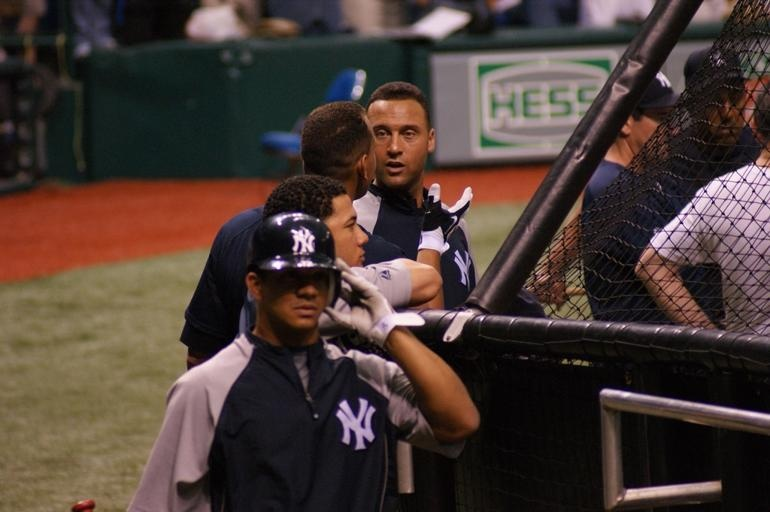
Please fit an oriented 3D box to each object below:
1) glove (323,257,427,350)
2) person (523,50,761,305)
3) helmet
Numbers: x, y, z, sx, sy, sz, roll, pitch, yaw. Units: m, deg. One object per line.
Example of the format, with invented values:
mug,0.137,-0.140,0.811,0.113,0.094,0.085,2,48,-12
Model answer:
glove,-0.073,0.319,9.768,0.482,0.654,0.300,-42,-27,23
person,1.724,-0.588,10.738,1.488,2.079,0.661,-1,47,-55
helmet,-0.588,-0.105,9.833,0.540,0.357,0.652,0,4,-17
